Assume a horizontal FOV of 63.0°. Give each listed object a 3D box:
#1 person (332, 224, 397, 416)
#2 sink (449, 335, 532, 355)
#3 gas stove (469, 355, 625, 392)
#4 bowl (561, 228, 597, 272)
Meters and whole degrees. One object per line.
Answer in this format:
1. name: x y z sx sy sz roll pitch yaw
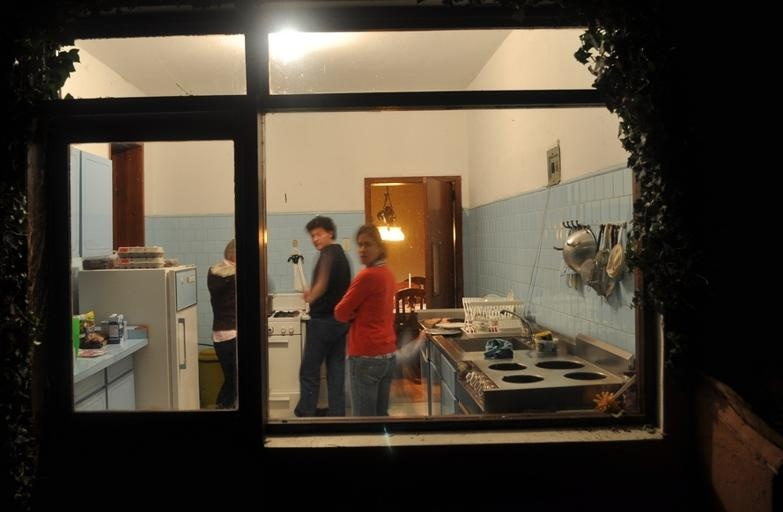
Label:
1. person: -0.134 0.399 3.646 0.330 1.134 0.187 -10 12 -33
2. sink: 0.623 0.581 4.022 0.476 0.086 0.226 -1 11 11
3. gas stove: 0.814 0.604 3.399 0.745 0.069 0.613 -1 11 7
4. bowl: 1.047 -0.033 3.533 0.092 0.241 0.217 -7 11 -23
